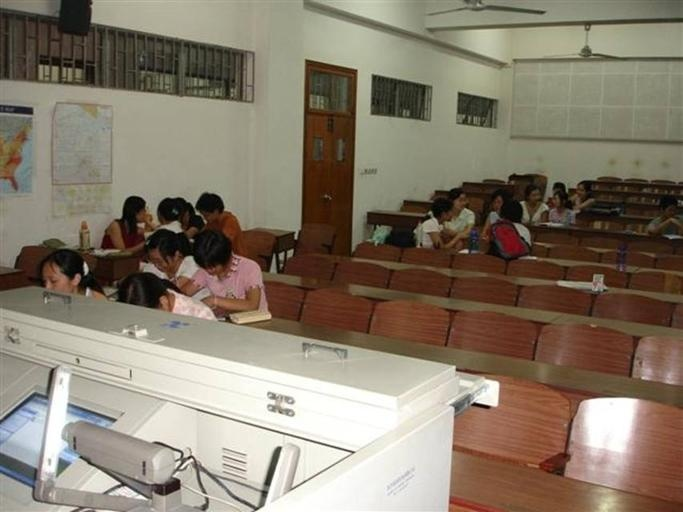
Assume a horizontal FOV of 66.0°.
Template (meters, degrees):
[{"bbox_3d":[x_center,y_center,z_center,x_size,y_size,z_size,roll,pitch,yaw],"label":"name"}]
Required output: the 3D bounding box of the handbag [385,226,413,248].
[{"bbox_3d":[0.997,-0.267,8.877,0.380,0.387,0.116,5,-30,2],"label":"handbag"}]

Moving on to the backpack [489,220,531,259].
[{"bbox_3d":[1.780,-0.135,5.573,0.360,0.417,0.227,-4,-27,-32],"label":"backpack"}]

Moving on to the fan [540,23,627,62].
[{"bbox_3d":[5.805,-4.901,12.369,1.802,0.658,1.896,15,31,35],"label":"fan"}]
